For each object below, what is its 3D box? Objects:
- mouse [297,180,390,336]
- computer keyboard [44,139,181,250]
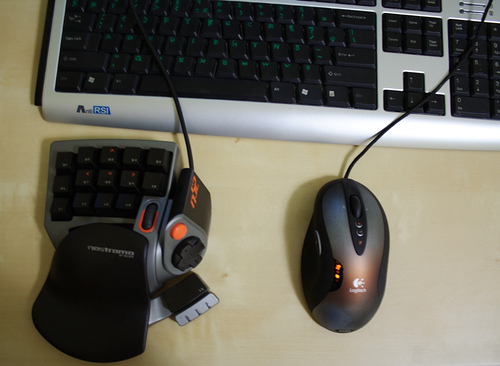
[{"bbox_3d":[0.160,0.123,0.801,0.134,0.072,0.240,6,80,-16],"label":"mouse"},{"bbox_3d":[-0.232,0.004,0.836,0.222,0.136,0.136,-1,44,-11],"label":"computer keyboard"}]
